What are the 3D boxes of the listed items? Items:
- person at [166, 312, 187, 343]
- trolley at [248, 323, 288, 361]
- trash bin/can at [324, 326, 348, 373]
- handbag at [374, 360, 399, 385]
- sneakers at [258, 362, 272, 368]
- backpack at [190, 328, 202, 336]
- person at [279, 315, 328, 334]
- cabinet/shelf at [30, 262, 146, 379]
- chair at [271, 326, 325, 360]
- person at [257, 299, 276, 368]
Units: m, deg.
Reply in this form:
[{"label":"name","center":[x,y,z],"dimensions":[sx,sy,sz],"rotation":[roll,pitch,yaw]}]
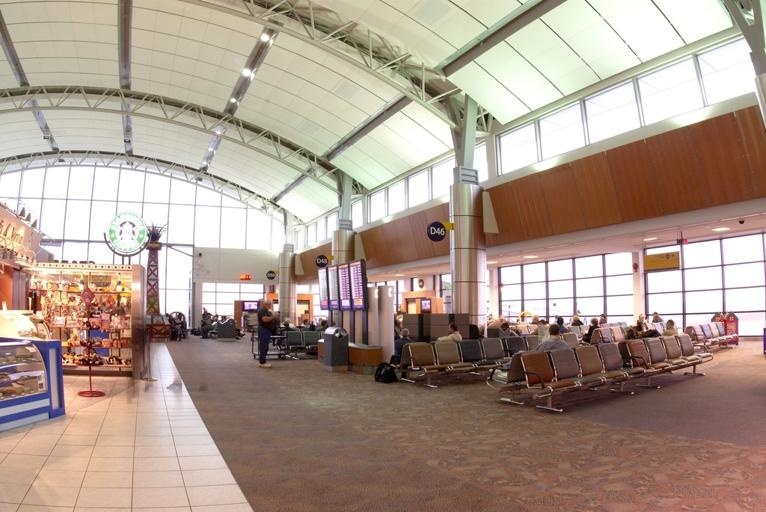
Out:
[{"label":"person","center":[-10.687,3.752,26.056],"dimensions":[1.034,1.076,1.970],"rotation":[-1,-17,-16]},{"label":"trolley","center":[-3.814,2.823,16.769],"dimensions":[1.537,1.186,0.906],"rotation":[-12,-6,-4]},{"label":"trash bin/can","center":[-1.231,2.515,13.377],"dimensions":[0.658,1.133,0.447],"rotation":[-1,-8,-2]},{"label":"handbag","center":[0.058,2.745,11.574],"dimensions":[0.520,0.418,0.364],"rotation":[14,-15,-29]},{"label":"sneakers","center":[-3.268,3.083,13.908],"dimensions":[0.414,0.157,0.142],"rotation":[0,-1,-10]},{"label":"backpack","center":[-11.452,4.722,30.677],"dimensions":[0.735,0.295,0.882],"rotation":[2,-5,-10]},{"label":"person","center":[-3.665,3.147,22.762],"dimensions":[2.222,1.058,0.681],"rotation":[3,-12,-23]},{"label":"cabinet/shelf","center":[-6.696,1.573,11.483],"dimensions":[3.006,2.517,0.977],"rotation":[-1,-5,-2]},{"label":"chair","center":[-2.799,2.954,16.500],"dimensions":[1.587,0.739,0.681],"rotation":[8,-15,-27]},{"label":"person","center":[-3.273,2.234,14.223],"dimensions":[0.519,1.867,0.780],"rotation":[0,-9,-12]}]
